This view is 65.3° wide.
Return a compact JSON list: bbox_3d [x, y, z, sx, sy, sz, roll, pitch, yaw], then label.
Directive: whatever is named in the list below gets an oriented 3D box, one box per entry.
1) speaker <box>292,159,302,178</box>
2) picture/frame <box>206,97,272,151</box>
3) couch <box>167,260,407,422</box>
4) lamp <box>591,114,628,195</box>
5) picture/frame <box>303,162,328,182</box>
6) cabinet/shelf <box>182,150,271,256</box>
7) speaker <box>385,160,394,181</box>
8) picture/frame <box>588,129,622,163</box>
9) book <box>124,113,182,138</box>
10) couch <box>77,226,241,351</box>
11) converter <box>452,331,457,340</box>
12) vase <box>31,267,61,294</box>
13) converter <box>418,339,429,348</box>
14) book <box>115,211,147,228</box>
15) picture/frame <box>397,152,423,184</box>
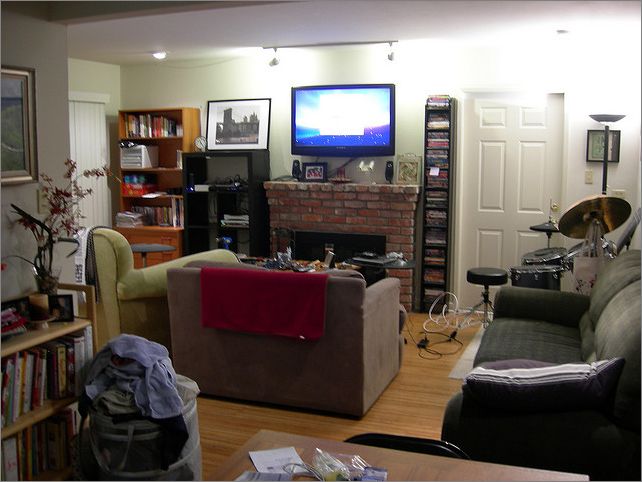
[{"bbox_3d":[-0.311,-0.891,6.295,0.117,0.247,0.116,0,9,-4],"label":"speaker"},{"bbox_3d":[-1.029,-1.492,6.435,0.683,0.535,0.027,2,2,19],"label":"picture/frame"},{"bbox_3d":[-0.238,0.833,3.545,1.493,1.144,1.094,4,12,24],"label":"couch"},{"bbox_3d":[2.943,-0.900,5.182,0.350,0.824,0.284,3,9,19],"label":"lamp"},{"bbox_3d":[-0.070,-0.845,6.167,0.231,0.192,0.025,2,8,21],"label":"picture/frame"},{"bbox_3d":[-1.207,-0.502,6.412,1.043,1.780,0.541,6,16,25],"label":"cabinet/shelf"},{"bbox_3d":[0.808,-0.815,5.948,0.099,0.270,0.158,1,9,8],"label":"speaker"},{"bbox_3d":[2.975,-0.996,5.239,0.329,0.362,0.026,1,4,5],"label":"picture/frame"},{"bbox_3d":[-2.243,-1.535,6.684,0.852,0.325,0.199,4,10,22],"label":"book"},{"bbox_3d":[-1.468,0.253,4.468,0.925,1.126,1.075,7,11,38],"label":"couch"},{"bbox_3d":[1.345,0.961,5.082,0.047,0.078,0.047,-11,31,-30],"label":"converter"},{"bbox_3d":[-1.503,0.215,2.774,0.127,0.147,0.137,3,6,-10],"label":"vase"},{"bbox_3d":[0.989,0.993,4.860,0.054,0.026,0.102,5,15,20],"label":"converter"},{"bbox_3d":[-2.585,-0.281,6.710,0.230,0.115,0.241,3,7,6],"label":"book"},{"bbox_3d":[1.024,-0.838,5.864,0.299,0.345,0.173,2,9,9],"label":"picture/frame"}]
